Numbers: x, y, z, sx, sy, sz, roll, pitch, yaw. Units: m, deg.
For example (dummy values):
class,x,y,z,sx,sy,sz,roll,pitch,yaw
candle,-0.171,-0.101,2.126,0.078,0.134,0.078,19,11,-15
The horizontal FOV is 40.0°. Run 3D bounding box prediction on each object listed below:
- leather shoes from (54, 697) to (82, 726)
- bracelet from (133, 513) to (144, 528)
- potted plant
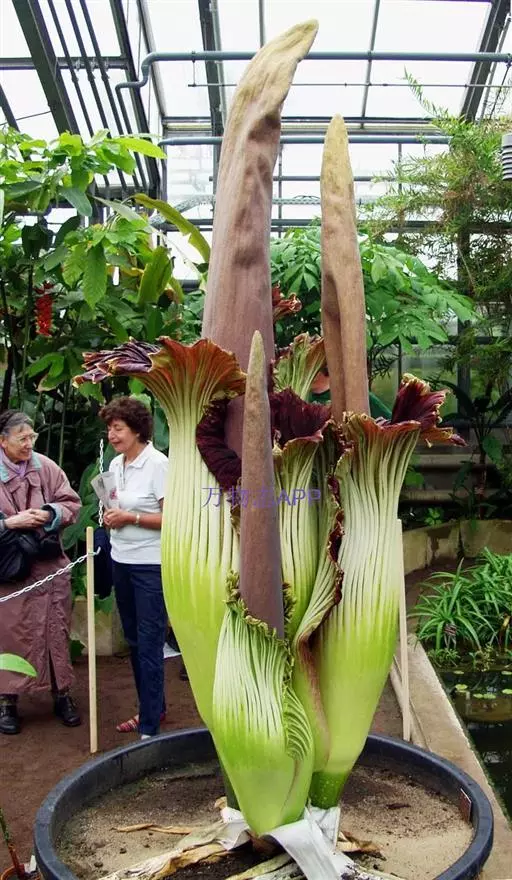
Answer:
class,x,y,z,sx,sy,sz,roll,pitch,yaw
leather shoes,-0.984,1.399,3.642,0.078,0.095,0.203,-1,3,-28
bracelet,-0.503,0.338,2.987,0.034,0.056,0.051,1,-30,3
potted plant,0.072,-0.008,1.089,0.487,1.285,0.591,-12,17,-34
